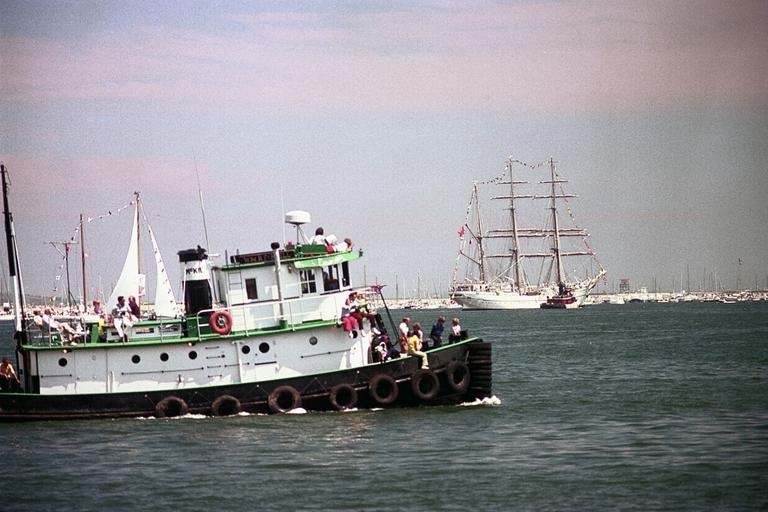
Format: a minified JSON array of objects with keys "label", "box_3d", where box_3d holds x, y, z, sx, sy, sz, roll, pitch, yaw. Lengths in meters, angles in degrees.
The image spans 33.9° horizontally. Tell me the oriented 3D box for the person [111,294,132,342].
[{"label":"person","box_3d":[-10.305,2.398,49.572,0.789,1.756,0.662,-4,0,-13]}]
